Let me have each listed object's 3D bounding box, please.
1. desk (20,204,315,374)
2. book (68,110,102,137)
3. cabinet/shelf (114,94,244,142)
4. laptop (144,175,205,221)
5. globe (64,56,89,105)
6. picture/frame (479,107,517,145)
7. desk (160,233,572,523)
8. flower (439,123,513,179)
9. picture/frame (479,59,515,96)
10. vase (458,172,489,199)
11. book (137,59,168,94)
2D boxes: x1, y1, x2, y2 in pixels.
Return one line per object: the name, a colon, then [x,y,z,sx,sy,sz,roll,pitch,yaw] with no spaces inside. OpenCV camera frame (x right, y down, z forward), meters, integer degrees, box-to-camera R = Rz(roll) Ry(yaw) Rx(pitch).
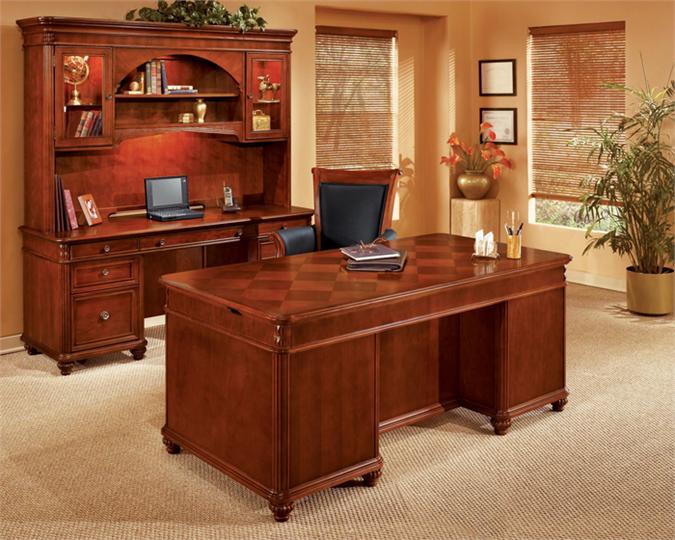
desk: [-1.371,0.058,4.718,0.756,0.947,2.311,12,16,40]
book: [-1.800,-1.059,3.939,0.050,0.194,0.212,19,20,35]
cabinet/shelf: [-1.317,-1.263,4.533,0.993,0.318,0.297,-4,10,-14]
laptop: [-1.412,-0.608,4.568,0.543,0.432,0.419,-6,9,-43]
globe: [-1.869,-1.373,3.906,0.206,0.363,0.164,2,5,-19]
picture/frame: [1.974,-1.759,6.645,0.035,0.457,0.495,-12,20,-40]
desk: [0.188,0.440,2.785,1.841,0.966,0.814,-6,11,-31]
flower: [1.661,-1.453,6.779,0.949,0.500,0.817,1,11,-30]
picture/frame: [1.931,-2.333,6.627,0.496,0.395,0.027,-10,15,-21]
vase: [1.671,-1.040,6.755,0.363,0.237,0.357,1,5,1]
book: [-1.435,-1.483,4.345,0.263,0.305,0.332,-5,15,-25]
